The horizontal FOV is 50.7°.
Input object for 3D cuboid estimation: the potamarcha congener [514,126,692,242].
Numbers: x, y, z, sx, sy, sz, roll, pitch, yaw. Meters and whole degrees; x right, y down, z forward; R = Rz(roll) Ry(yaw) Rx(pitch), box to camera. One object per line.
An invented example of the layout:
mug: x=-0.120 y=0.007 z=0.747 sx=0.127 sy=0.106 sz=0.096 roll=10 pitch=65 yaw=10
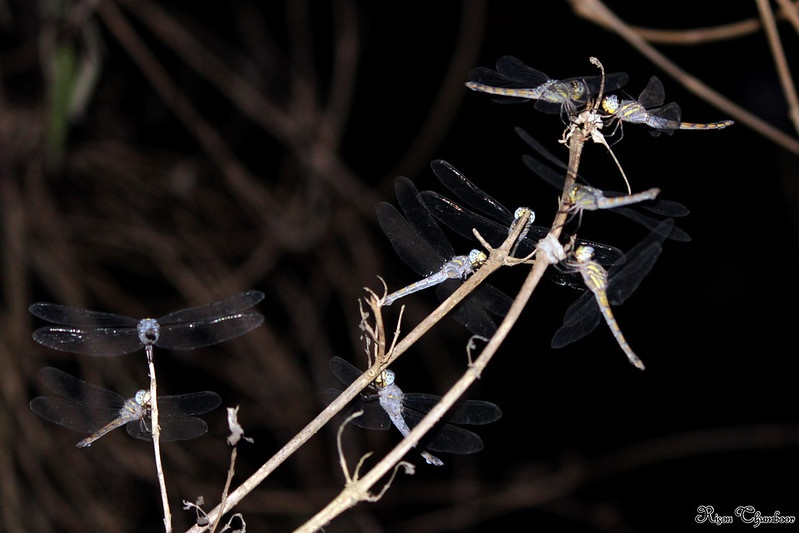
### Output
potamarcha congener: x=0.436 y=-0.134 z=1.893 sx=0.319 sy=0.293 sz=0.125 roll=34 pitch=-76 yaw=-24

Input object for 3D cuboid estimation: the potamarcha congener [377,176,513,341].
potamarcha congener: x=0.091 y=-0.021 z=1.992 sx=0.371 sy=0.361 sz=0.166 roll=7 pitch=-32 yaw=-36

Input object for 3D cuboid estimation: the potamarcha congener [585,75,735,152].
potamarcha congener: x=0.623 y=-0.371 z=1.973 sx=0.328 sy=0.153 sz=0.144 roll=6 pitch=17 yaw=8

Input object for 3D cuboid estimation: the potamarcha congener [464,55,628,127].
potamarcha congener: x=0.315 y=-0.419 z=1.984 sx=0.245 sy=0.098 sz=0.213 roll=19 pitch=0 yaw=6

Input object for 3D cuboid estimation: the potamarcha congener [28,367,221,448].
potamarcha congener: x=-0.711 y=0.355 z=2.120 sx=0.260 sy=0.094 sz=0.152 roll=8 pitch=-49 yaw=2

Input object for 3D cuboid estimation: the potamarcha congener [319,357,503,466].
potamarcha congener: x=0.039 y=0.352 z=1.987 sx=0.418 sy=0.087 sz=0.259 roll=16 pitch=-52 yaw=4

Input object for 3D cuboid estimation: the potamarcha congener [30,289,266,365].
potamarcha congener: x=-0.583 y=0.152 z=1.984 sx=0.507 sy=0.141 sz=0.220 roll=-7 pitch=13 yaw=-17
